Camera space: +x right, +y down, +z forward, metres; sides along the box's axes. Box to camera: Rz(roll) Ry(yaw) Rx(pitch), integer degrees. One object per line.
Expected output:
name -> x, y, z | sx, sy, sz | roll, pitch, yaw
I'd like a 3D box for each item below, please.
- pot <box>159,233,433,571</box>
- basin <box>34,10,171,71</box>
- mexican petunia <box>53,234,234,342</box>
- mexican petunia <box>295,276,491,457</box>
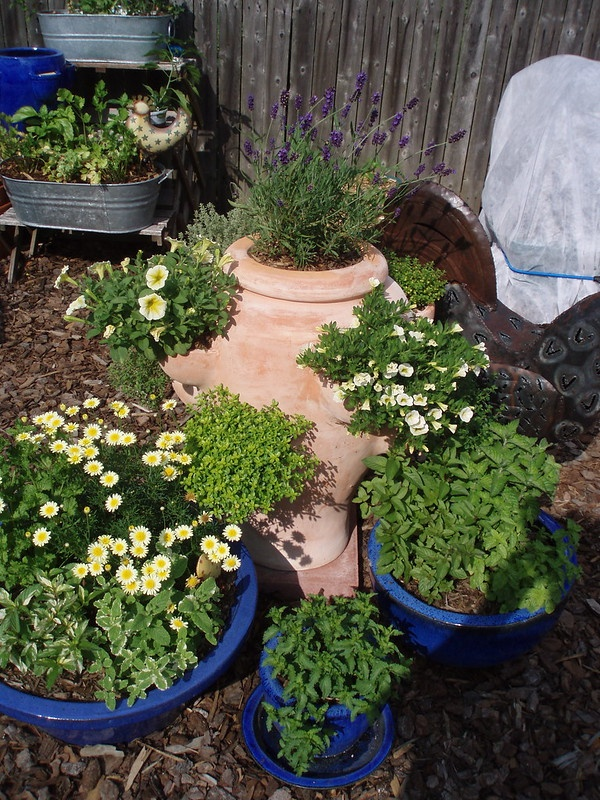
pot -> 0.007, -0.022, 2.695 | 1.211, 1.236, 0.992 | 0, 25, -6
basin -> -1.405, -2.614, 4.352 | 0.968, 0.357, 0.271 | 11, 30, 7
mexican petunia -> -0.461, -0.348, 2.049 | 0.498, 0.281, 0.491 | 23, 50, 22
mexican petunia -> 0.342, -0.048, 2.094 | 0.743, 0.624, 0.495 | 2, 30, -9
